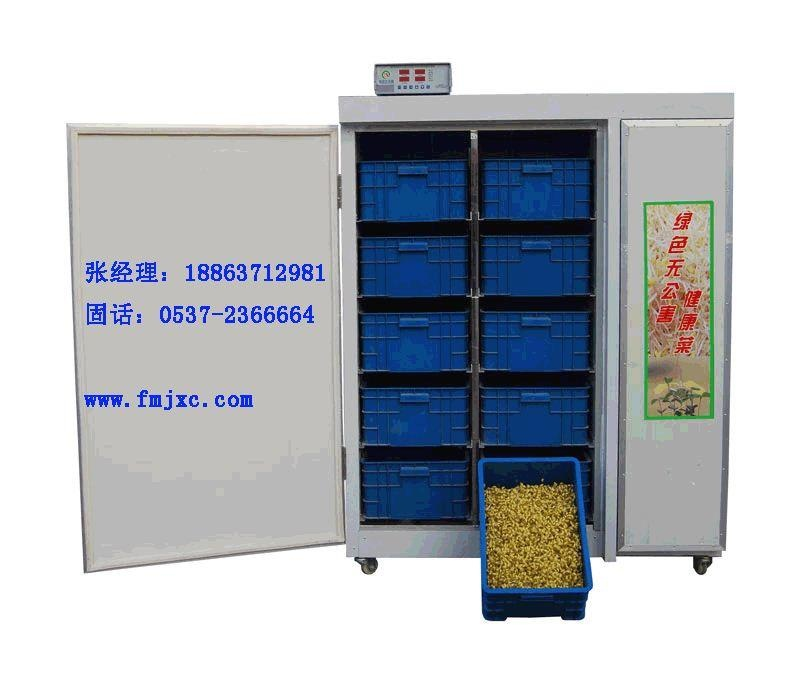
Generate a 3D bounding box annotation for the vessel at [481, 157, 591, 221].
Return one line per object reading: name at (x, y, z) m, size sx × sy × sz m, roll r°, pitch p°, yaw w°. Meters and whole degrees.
vessel at (0.719, -0.710, 5.751) m, size 0.579 × 0.330 × 0.477 m, roll 3°, pitch -10°, yaw 5°

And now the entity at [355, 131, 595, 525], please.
entity at (0.467, -0.158, 6.934) m, size 1.589 × 2.984 × 1.756 m, roll -2°, pitch 3°, yaw -6°

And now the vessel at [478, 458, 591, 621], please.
vessel at (0.658, 1.010, 5.559) m, size 0.487 × 0.318 × 0.826 m, roll -1°, pitch 39°, yaw 4°

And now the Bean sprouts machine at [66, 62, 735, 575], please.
Bean sprouts machine at (0.033, 0.627, 6.703) m, size 3.616 × 3.383 × 2.237 m, roll -1°, pitch 6°, yaw 0°
